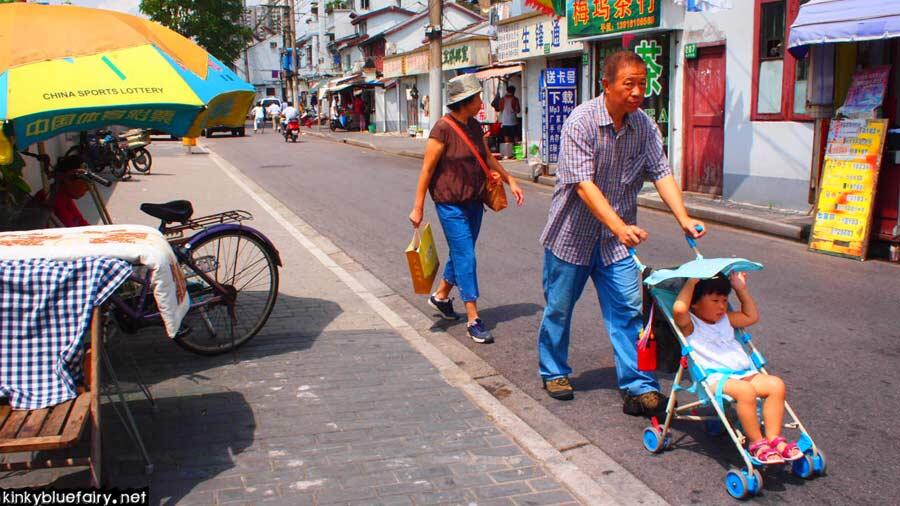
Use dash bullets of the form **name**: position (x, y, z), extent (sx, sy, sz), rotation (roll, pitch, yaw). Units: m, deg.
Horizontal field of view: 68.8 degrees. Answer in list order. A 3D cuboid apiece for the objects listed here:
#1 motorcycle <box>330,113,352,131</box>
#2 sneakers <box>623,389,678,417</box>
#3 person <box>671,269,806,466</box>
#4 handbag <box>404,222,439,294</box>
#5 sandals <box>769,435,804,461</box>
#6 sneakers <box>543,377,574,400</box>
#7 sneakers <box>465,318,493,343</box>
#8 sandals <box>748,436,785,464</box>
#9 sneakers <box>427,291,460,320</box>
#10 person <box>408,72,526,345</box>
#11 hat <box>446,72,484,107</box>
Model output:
- **motorcycle**: position (-7.053, -8.489, 42.691), extent (1.167, 0.917, 1.713), rotation (-3, 24, -9)
- **sneakers**: position (1.811, 1.317, 5.827), extent (0.469, 0.200, 0.180), rotation (-3, 13, 29)
- **person**: position (2.333, 0.842, 5.176), extent (0.640, 1.193, 1.000), rotation (-13, 22, -29)
- **handbag**: position (-0.346, 0.094, 8.094), extent (0.336, 0.940, 0.998), rotation (-1, -7, 14)
- **sandals**: position (2.511, 1.463, 4.989), extent (0.135, 0.103, 0.300), rotation (-9, 10, -28)
- **sneakers**: position (1.014, 1.259, 6.149), extent (0.134, 0.136, 0.322), rotation (-6, 14, -17)
- **sneakers**: position (0.347, 0.847, 7.287), extent (0.295, 0.233, 0.223), rotation (-1, 19, 1)
- **sandals**: position (2.361, 1.483, 4.960), extent (0.150, 0.091, 0.229), rotation (-3, 1, -2)
- **sneakers**: position (-0.095, 0.629, 7.891), extent (0.225, 0.477, 0.180), rotation (-41, 27, 13)
- **person**: position (0.130, -0.507, 7.283), extent (1.075, 2.796, 0.958), rotation (2, 20, 8)
- **hat**: position (0.155, -1.791, 7.131), extent (0.376, 0.185, 0.321), rotation (-32, 25, -7)
